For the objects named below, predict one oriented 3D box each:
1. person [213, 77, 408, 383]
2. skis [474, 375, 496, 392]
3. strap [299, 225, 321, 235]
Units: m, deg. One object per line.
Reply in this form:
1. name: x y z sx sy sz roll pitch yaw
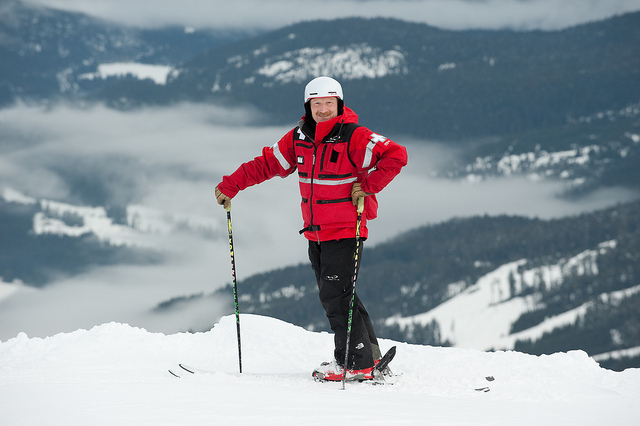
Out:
1. person: 0.098 0.147 15.183 1.550 3.210 0.902 8 15 38
2. skis: 1.874 1.895 15.380 0.061 0.158 0.169 30 -17 -37
3. strap: -0.091 0.182 15.028 0.147 0.047 0.113 -25 27 -30
